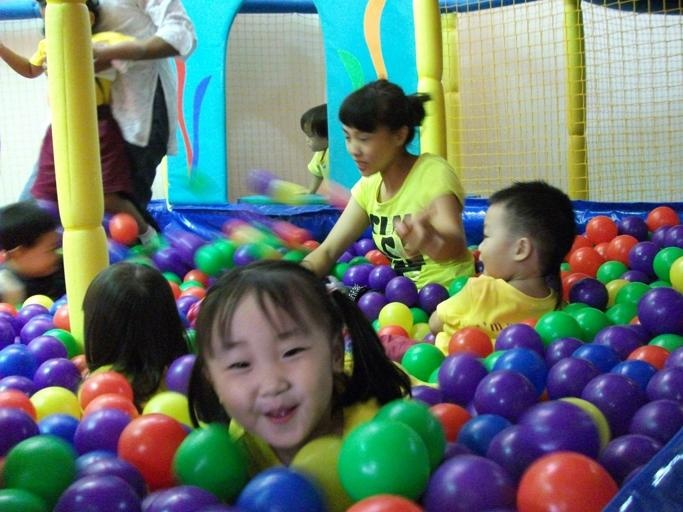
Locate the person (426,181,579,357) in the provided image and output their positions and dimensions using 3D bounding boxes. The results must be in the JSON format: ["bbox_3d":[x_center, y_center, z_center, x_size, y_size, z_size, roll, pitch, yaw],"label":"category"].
[{"bbox_3d":[0.654,0.149,2.230,0.406,0.792,0.510,17,-16,3],"label":"person"}]
